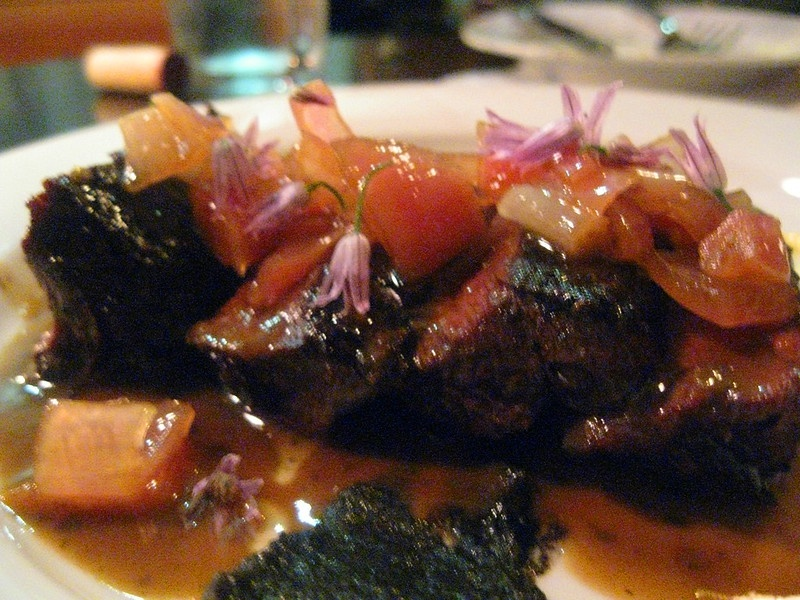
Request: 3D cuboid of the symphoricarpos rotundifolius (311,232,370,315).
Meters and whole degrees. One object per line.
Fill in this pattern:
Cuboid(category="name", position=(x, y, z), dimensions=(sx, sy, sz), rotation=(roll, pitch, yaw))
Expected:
Cuboid(category="symphoricarpos rotundifolius", position=(-0.143, -0.073, 2.223), dimensions=(0.127, 0.136, 0.146), rotation=(3, 60, 5))
